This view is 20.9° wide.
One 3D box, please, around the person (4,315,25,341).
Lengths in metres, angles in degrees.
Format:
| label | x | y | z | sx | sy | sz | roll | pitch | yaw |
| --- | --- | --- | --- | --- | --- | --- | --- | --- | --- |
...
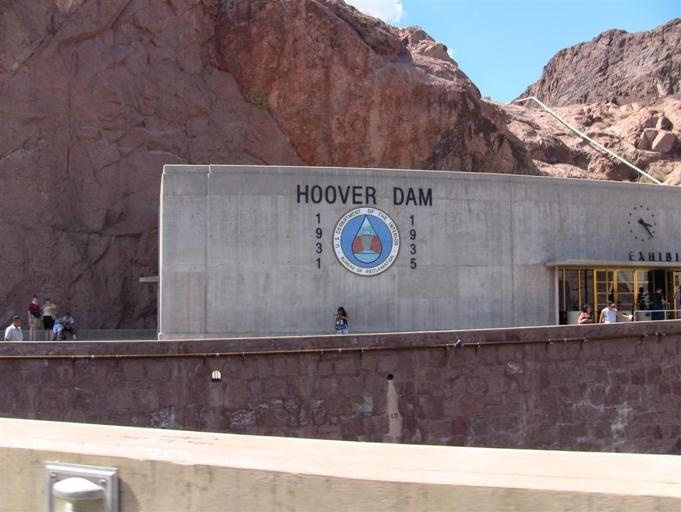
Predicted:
| label | x | y | z | sx | sy | sz | roll | pitch | yaw |
| --- | --- | --- | --- | --- | --- | --- | --- | --- | --- |
| person | -19.583 | 4.297 | 109.590 | 1.044 | 1.698 | 0.976 | 8 | -18 | -38 |

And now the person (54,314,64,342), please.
| label | x | y | z | sx | sy | sz | roll | pitch | yaw |
| --- | --- | --- | --- | --- | --- | --- | --- | --- | --- |
| person | -16.624 | 4.214 | 107.668 | 0.562 | 1.261 | 0.830 | -1 | -4 | -9 |

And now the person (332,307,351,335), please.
| label | x | y | z | sx | sy | sz | roll | pitch | yaw |
| --- | --- | --- | --- | --- | --- | --- | --- | --- | --- |
| person | 0.082 | 3.715 | 107.193 | 0.879 | 1.618 | 1.357 | -2 | -4 | 0 |

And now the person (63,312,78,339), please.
| label | x | y | z | sx | sy | sz | roll | pitch | yaw |
| --- | --- | --- | --- | --- | --- | --- | --- | --- | --- |
| person | -16.045 | 4.133 | 108.343 | 0.806 | 1.585 | 1.948 | -1 | -4 | -8 |

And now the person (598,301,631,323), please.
| label | x | y | z | sx | sy | sz | roll | pitch | yaw |
| --- | --- | --- | --- | --- | --- | --- | --- | --- | --- |
| person | 16.039 | 3.318 | 107.926 | 1.142 | 1.398 | 0.394 | -1 | -5 | -26 |

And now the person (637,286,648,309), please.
| label | x | y | z | sx | sy | sz | roll | pitch | yaw |
| --- | --- | --- | --- | --- | --- | --- | --- | --- | --- |
| person | 18.038 | 2.495 | 109.774 | 0.709 | 1.342 | 0.191 | -1 | -4 | -10 |
